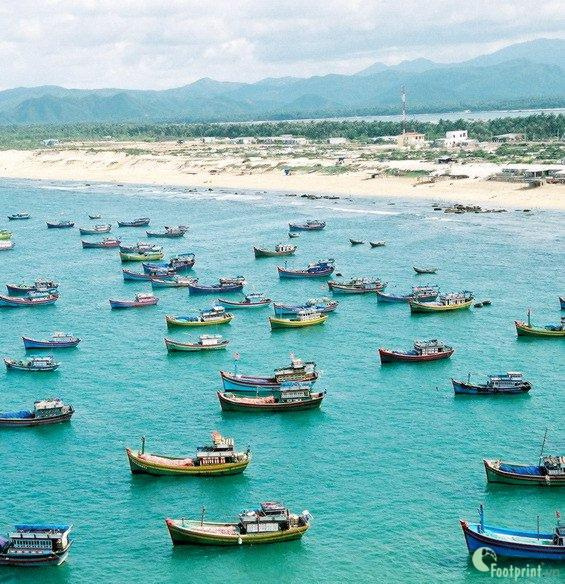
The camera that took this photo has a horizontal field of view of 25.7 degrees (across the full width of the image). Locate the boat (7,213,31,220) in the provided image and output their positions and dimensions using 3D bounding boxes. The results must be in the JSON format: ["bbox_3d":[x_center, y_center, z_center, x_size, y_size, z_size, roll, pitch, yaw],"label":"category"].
[{"bbox_3d":[-44.607,-12.792,211.039,4.914,1.107,1.485,-1,10,-16],"label":"boat"}]

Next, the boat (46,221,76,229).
[{"bbox_3d":[-35.806,-10.644,199.582,4.779,1.169,1.420,0,5,-5],"label":"boat"}]

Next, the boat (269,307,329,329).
[{"bbox_3d":[0.759,2.780,129.458,7.649,2.418,2.093,-1,4,-16],"label":"boat"}]

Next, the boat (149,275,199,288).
[{"bbox_3d":[-12.968,-1.365,148.504,6.766,1.561,1.910,1,-1,4],"label":"boat"}]

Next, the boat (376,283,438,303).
[{"bbox_3d":[13.949,0.195,137.208,7.518,2.200,2.297,0,2,1],"label":"boat"}]

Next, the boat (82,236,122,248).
[{"bbox_3d":[-25.933,-6.991,178.392,5.552,1.429,1.851,1,4,-7],"label":"boat"}]

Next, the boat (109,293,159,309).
[{"bbox_3d":[-16.342,1.102,138.396,6.141,1.603,1.894,0,2,-14],"label":"boat"}]

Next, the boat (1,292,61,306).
[{"bbox_3d":[-28.575,1.159,140.662,6.459,1.407,2.162,1,5,-4],"label":"boat"}]

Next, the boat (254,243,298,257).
[{"bbox_3d":[-0.830,-5.353,163.760,6.682,1.818,1.860,-1,14,-18],"label":"boat"}]

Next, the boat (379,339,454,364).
[{"bbox_3d":[12.764,6.113,117.556,7.801,2.538,2.455,-4,12,-7],"label":"boat"}]

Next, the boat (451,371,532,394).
[{"bbox_3d":[18.623,8.260,109.320,7.188,1.896,2.476,2,-2,0],"label":"boat"}]

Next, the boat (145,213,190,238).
[{"bbox_3d":[-17.001,-8.927,184.641,6.522,3.414,2.714,-1,26,3],"label":"boat"}]

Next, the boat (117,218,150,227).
[{"bbox_3d":[-23.928,-10.949,197.736,5.473,1.442,1.713,0,9,5],"label":"boat"}]

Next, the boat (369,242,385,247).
[{"bbox_3d":[12.959,-6.440,167.545,2.247,0.598,0.643,2,3,-25],"label":"boat"}]

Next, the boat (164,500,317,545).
[{"bbox_3d":[-2.750,17.046,89.585,10.059,2.595,1.399,-4,10,-4],"label":"boat"}]

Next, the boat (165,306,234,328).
[{"bbox_3d":[-9.385,2.972,129.716,8.173,2.191,2.456,-1,14,-11],"label":"boat"}]

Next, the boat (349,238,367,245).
[{"bbox_3d":[10.018,-6.868,170.632,3.063,0.838,0.697,0,9,-24],"label":"boat"}]

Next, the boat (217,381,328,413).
[{"bbox_3d":[-1.096,9.318,107.952,9.054,2.318,3.335,-4,9,-5],"label":"boat"}]

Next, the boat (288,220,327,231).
[{"bbox_3d":[3.461,-9.993,185.048,6.517,1.769,1.860,0,0,-3],"label":"boat"}]

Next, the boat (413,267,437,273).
[{"bbox_3d":[17.250,-2.675,149.308,2.537,0.584,2.737,-2,8,11],"label":"boat"}]

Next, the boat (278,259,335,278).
[{"bbox_3d":[3.094,-2.776,151.517,6.561,2.148,2.572,0,4,-1],"label":"boat"}]

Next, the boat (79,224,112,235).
[{"bbox_3d":[-28.889,-9.558,189.485,5.687,1.525,1.824,0,2,-14],"label":"boat"}]

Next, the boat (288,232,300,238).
[{"bbox_3d":[1.622,-8.057,177.807,1.441,0.646,1.620,-3,8,3],"label":"boat"}]

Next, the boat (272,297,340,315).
[{"bbox_3d":[2.805,1.896,133.387,7.653,1.588,2.405,-2,5,-17],"label":"boat"}]
